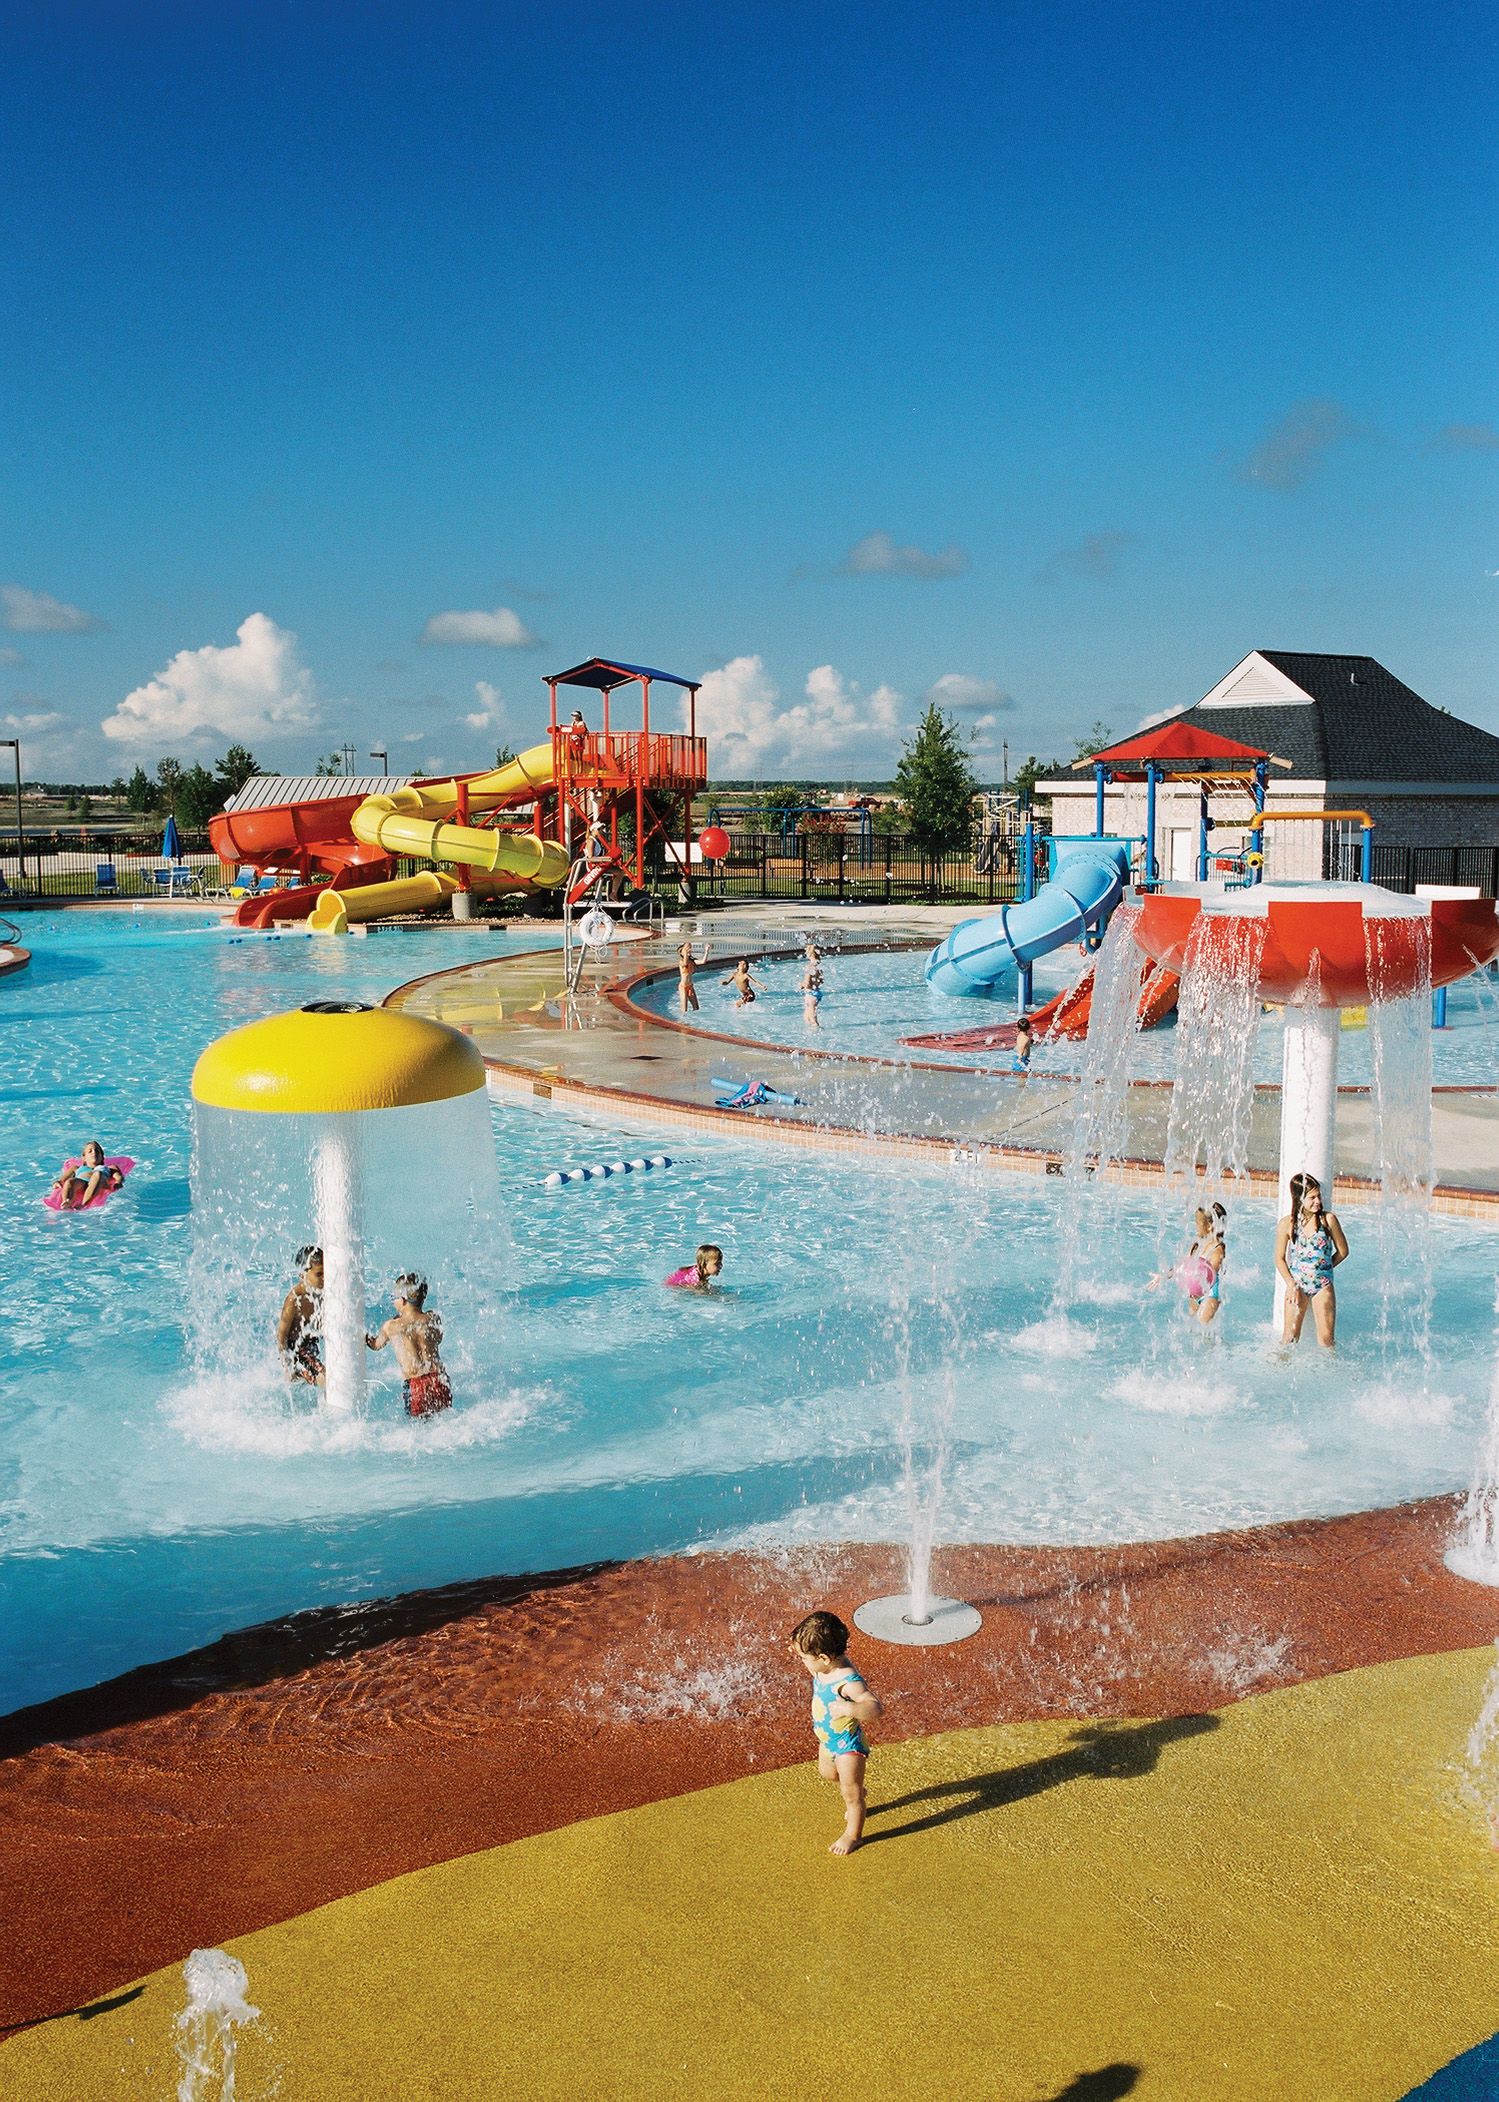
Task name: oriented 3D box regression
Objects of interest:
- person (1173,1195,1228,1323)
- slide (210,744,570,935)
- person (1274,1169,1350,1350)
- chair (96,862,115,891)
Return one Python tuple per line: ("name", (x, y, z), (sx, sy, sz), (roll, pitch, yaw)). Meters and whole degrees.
("person", (2.394, 1.101, 8.495), (0.225, 0.633, 0.988), (0, 3, 15))
("slide", (-9.034, -4.816, 38.895), (7.280, 4.187, 11.817), (-2, 3, -18))
("person", (2.809, 1.059, 8.004), (0.292, 0.922, 0.561), (0, 3, 19))
("chair", (-18.402, -4.989, 45.705), (0.591, 0.330, 1.384), (-3, 21, -14))
